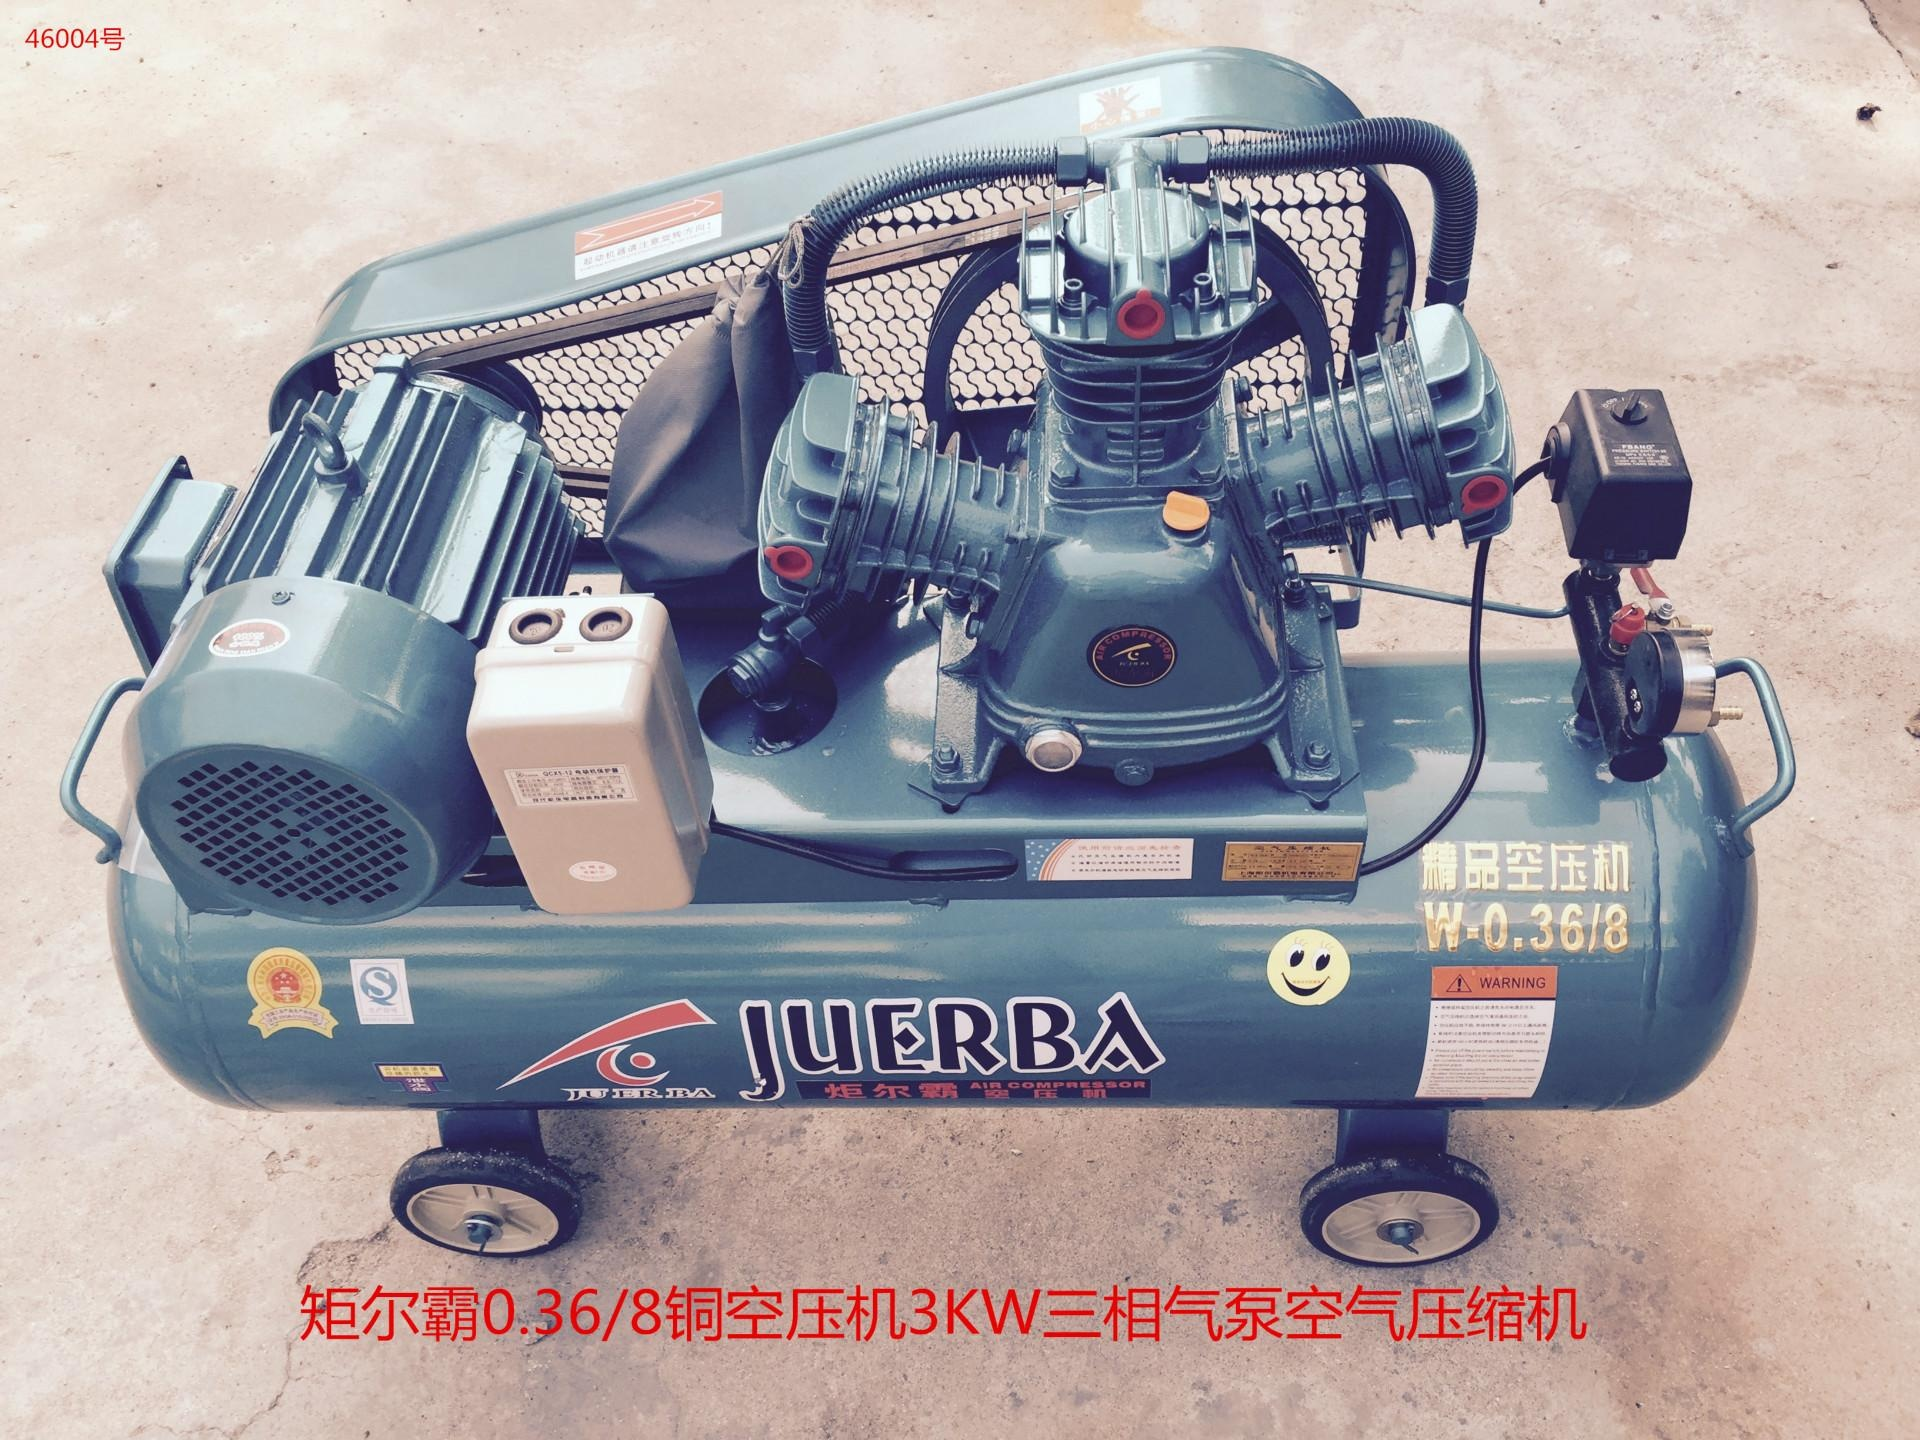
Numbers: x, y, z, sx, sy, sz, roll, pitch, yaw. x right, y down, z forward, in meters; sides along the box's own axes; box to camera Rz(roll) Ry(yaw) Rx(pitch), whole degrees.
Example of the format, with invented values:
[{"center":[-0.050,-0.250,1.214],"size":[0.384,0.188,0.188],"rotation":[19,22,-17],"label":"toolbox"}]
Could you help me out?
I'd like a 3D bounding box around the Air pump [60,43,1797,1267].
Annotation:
[{"center":[-0.086,-0.003,5.086],"size":[4.237,2.903,1.607],"rotation":[-1,40,3],"label":"Air pump"}]
